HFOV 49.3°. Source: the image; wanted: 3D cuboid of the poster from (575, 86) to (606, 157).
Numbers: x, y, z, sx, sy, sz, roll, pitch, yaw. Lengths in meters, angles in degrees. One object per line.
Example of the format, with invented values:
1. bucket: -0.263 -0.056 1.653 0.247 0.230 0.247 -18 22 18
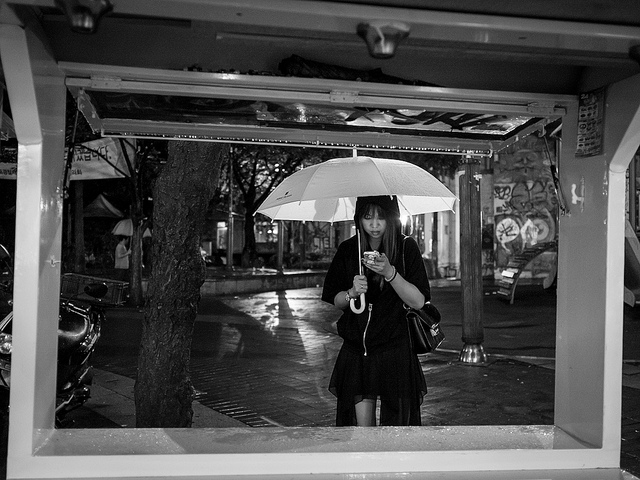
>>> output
1. poster: 1.420 -0.612 3.674 0.041 0.354 0.210 1 -4 -18

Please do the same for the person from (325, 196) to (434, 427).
1. person: 0.370 0.460 4.514 0.680 1.528 0.635 0 -3 0

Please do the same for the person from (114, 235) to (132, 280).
1. person: -5.319 0.435 18.801 0.367 1.258 2.145 1 -4 -16

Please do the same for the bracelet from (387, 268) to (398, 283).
1. bracelet: 0.440 0.216 4.293 0.015 0.069 0.068 18 18 7

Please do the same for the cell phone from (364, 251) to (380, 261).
1. cell phone: 0.309 0.100 4.254 0.101 0.050 0.038 -2 -4 26

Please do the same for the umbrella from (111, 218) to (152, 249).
1. umbrella: -5.298 -0.207 19.626 1.029 1.104 1.076 -1 2 19

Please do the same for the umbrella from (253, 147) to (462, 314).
1. umbrella: 0.255 -0.123 5.264 1.156 1.047 1.226 0 -2 -28
